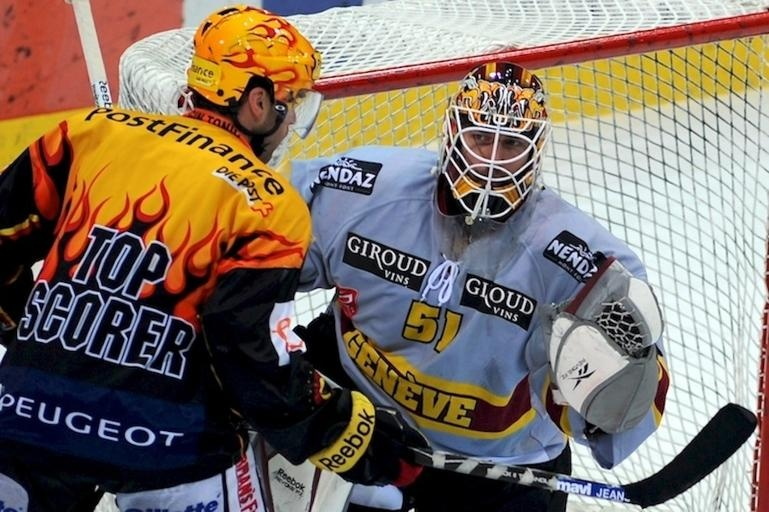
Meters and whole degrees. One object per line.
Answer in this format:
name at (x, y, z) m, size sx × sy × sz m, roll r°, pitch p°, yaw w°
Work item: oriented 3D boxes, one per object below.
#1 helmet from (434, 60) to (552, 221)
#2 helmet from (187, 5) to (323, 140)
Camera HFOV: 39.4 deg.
helmet at (0.360, -0.439, 3.677) m, size 0.368 × 0.512 × 0.517 m, roll 12°, pitch 28°, yaw 3°
helmet at (-0.460, -0.609, 3.505) m, size 0.458 × 0.382 × 0.358 m, roll -2°, pitch 35°, yaw -18°
